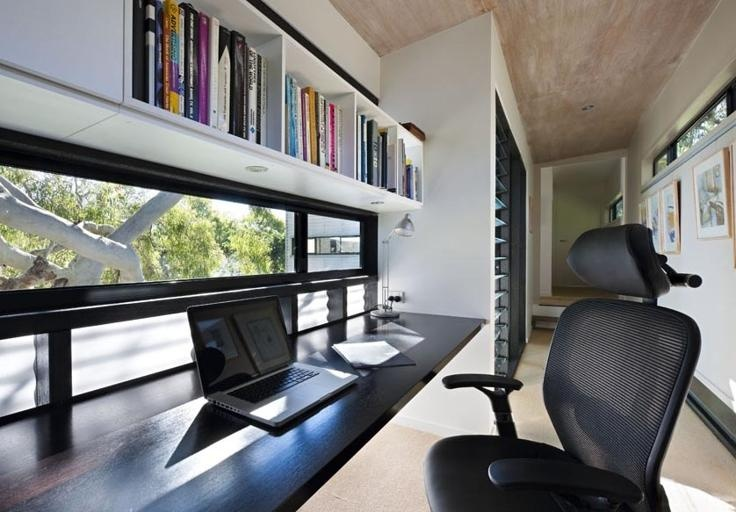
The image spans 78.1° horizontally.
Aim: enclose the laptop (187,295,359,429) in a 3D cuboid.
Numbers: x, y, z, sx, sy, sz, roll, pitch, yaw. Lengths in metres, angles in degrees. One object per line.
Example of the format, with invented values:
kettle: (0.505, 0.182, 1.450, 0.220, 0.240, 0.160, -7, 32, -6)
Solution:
laptop: (-0.397, 0.431, 1.902, 0.557, 0.399, 0.516, 4, 0, 38)
